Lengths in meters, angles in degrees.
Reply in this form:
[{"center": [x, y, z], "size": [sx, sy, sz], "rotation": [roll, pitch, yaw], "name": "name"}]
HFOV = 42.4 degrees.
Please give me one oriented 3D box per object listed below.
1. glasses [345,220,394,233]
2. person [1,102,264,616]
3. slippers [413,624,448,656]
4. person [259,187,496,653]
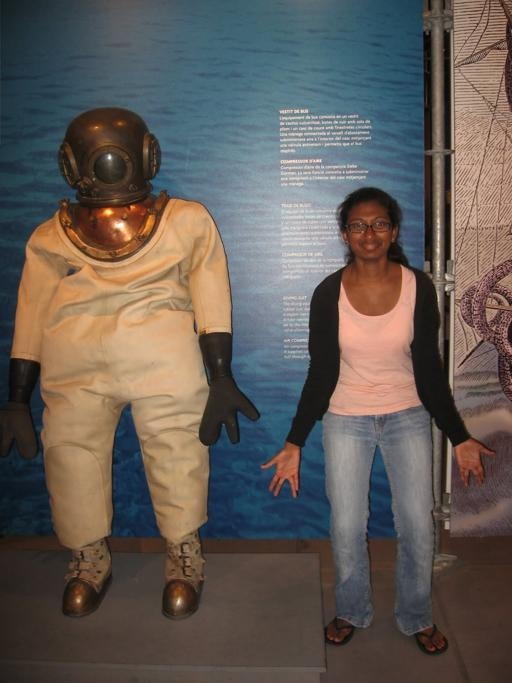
[{"center": [0.323, -0.325, 1.868], "size": [0.117, 0.037, 0.025], "rotation": [2, 22, 12], "name": "glasses"}, {"center": [-0.415, 0.070, 1.977], "size": [0.816, 1.466, 0.632], "rotation": [-4, 22, -1], "name": "person"}, {"center": [0.529, 0.886, 1.953], "size": [0.075, 0.025, 0.089], "rotation": [-12, 35, -10], "name": "slippers"}, {"center": [0.367, 0.223, 1.911], "size": [0.517, 1.266, 0.459], "rotation": [13, 28, 35], "name": "person"}]
